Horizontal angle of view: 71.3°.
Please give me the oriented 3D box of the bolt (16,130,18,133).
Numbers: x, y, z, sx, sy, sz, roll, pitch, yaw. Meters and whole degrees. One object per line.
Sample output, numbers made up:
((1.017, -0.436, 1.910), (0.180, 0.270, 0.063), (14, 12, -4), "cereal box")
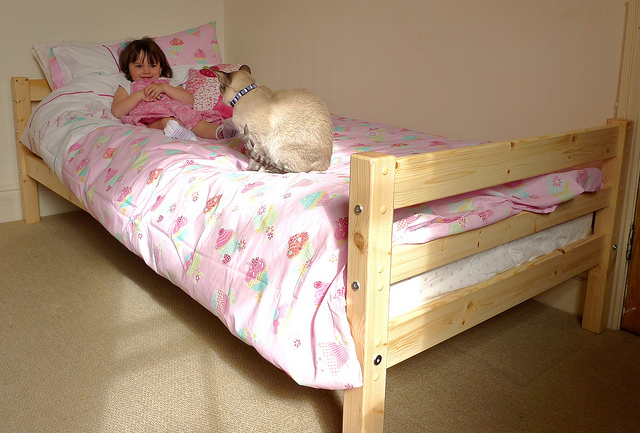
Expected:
((-1.877, -0.531, 2.790), (0.010, 0.011, 0.018), (26, 3, -32), "bolt")

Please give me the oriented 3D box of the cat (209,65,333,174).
((-0.187, -0.399, 1.832), (0.433, 0.360, 0.657), (-4, 15, -20), "cat")

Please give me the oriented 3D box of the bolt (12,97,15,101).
((-1.872, -0.724, 2.748), (0.010, 0.011, 0.011), (-5, 56, -24), "bolt")

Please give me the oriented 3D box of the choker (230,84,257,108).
((-0.295, -0.474, 1.770), (0.022, 0.085, 0.088), (47, 25, -2), "choker")

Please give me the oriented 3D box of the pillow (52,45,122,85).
((-1.447, -0.973, 2.798), (0.310, 0.075, 0.306), (-14, 67, -27), "pillow")

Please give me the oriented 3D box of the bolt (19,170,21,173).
((-1.898, -0.290, 2.843), (0.017, 0.011, 0.017), (-12, 38, -27), "bolt")

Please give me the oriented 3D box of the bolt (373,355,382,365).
((0.167, 0.416, 1.301), (0.025, 0.026, 0.006), (-44, 30, -26), "bolt")

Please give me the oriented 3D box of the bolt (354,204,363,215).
((0.106, -0.019, 1.224), (0.027, 0.028, 0.007), (15, 28, 37), "bolt")

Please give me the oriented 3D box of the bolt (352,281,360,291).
((0.101, 0.193, 1.251), (0.023, 0.027, 0.006), (15, 27, 36), "bolt")

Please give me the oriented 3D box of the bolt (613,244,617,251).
((1.279, 0.134, 1.946), (0.019, 0.027, 0.006), (2, 0, -37), "bolt")
